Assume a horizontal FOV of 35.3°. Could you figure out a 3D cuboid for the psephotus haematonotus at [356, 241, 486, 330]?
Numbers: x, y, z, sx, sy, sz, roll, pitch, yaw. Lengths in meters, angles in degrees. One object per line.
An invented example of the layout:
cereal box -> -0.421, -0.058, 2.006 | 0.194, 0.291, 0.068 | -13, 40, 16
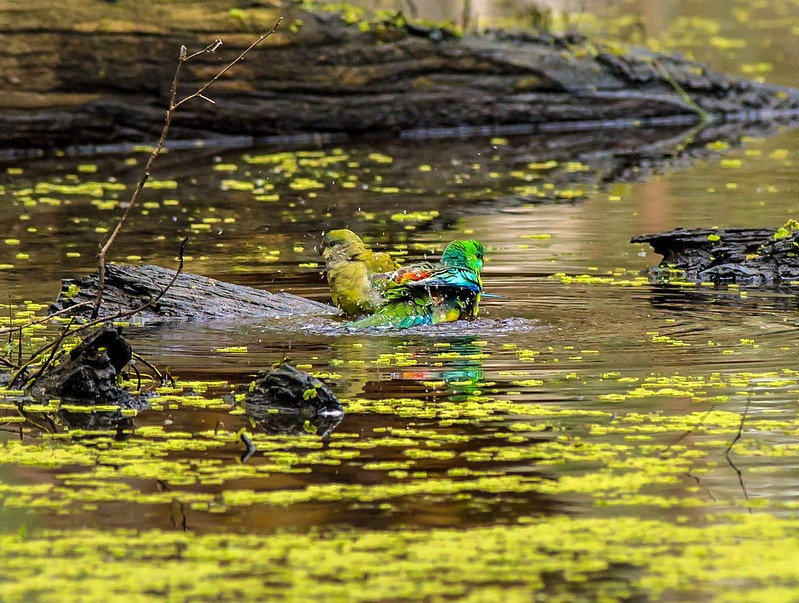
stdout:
psephotus haematonotus -> 0.228, -0.177, 12.588 | 1.287, 0.871, 0.729 | -2, 4, -1
